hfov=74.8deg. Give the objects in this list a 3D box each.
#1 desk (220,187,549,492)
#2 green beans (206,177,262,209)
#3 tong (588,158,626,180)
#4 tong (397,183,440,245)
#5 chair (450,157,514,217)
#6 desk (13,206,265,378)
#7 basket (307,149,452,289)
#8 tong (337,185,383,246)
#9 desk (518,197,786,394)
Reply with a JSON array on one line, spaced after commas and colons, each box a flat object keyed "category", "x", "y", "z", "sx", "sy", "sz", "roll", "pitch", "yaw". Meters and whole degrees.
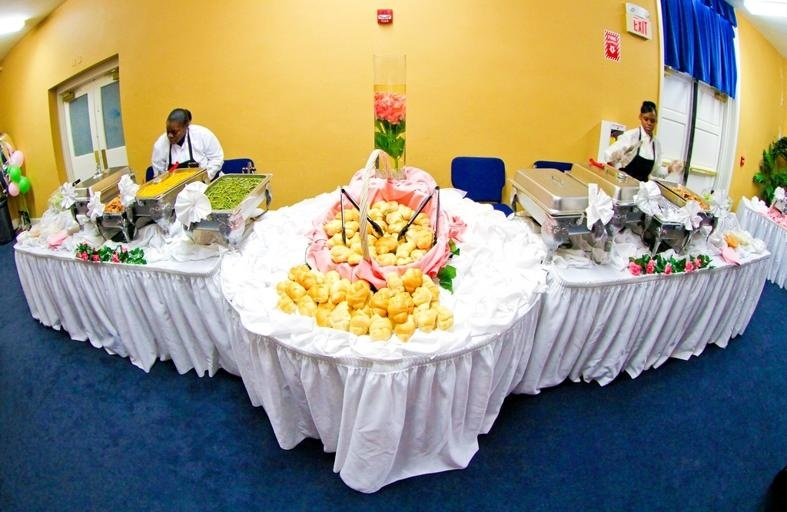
[{"category": "desk", "x": 0.020, "y": 0.679, "z": 3.994, "sx": 1.726, "sy": 0.909, "sz": 1.938, "roll": 0, "pitch": 36, "yaw": 0}, {"category": "green beans", "x": -1.239, "y": -0.500, "z": 3.970, "sx": 0.242, "sy": 0.054, "sz": 0.371, "roll": 7, "pitch": 33, "yaw": 11}, {"category": "tong", "x": 1.675, "y": -0.683, "z": 4.031, "sx": 0.149, "sy": 0.041, "sz": 0.293, "roll": -2, "pitch": 22, "yaw": -6}, {"category": "tong", "x": 0.210, "y": -0.287, "z": 3.674, "sx": 0.259, "sy": 0.444, "sz": 0.106, "roll": 18, "pitch": -2, "yaw": 5}, {"category": "chair", "x": 0.793, "y": -0.724, "z": 5.328, "sx": 0.537, "sy": 0.756, "sz": 0.600, "roll": -2, "pitch": 15, "yaw": -5}, {"category": "desk", "x": -1.952, "y": 0.406, "z": 4.250, "sx": 1.450, "sy": 0.701, "sz": 1.490, "roll": 5, "pitch": 21, "yaw": 10}, {"category": "basket", "x": -0.056, "y": -0.307, "z": 3.752, "sx": 0.919, "sy": 0.294, "sz": 1.090, "roll": 22, "pitch": 55, "yaw": 15}, {"category": "tong", "x": -0.228, "y": -0.274, "z": 3.653, "sx": 0.101, "sy": 0.461, "sz": 0.137, "roll": -37, "pitch": -8, "yaw": -3}, {"category": "desk", "x": 1.828, "y": 0.491, "z": 3.934, "sx": 1.570, "sy": 0.682, "sz": 1.546, "roll": -20, "pitch": 26, "yaw": -39}]
